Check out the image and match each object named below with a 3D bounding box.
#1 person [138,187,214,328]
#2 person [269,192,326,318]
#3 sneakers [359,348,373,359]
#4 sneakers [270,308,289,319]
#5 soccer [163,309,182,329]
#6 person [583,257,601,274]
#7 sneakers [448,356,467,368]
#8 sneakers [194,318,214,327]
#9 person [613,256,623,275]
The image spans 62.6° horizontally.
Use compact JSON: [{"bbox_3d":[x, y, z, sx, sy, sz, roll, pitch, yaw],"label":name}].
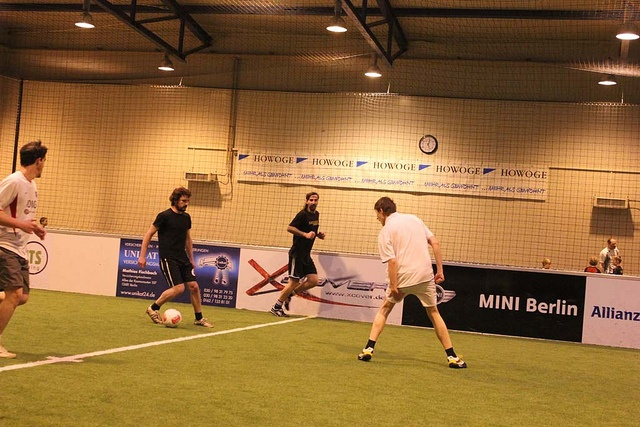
[{"bbox_3d":[-2.552,0.751,9.225,1.189,1.673,0.843,3,-2,-29],"label":"person"},{"bbox_3d":[-0.440,0.881,11.331,0.803,2.694,1.022,4,-2,-38],"label":"person"},{"bbox_3d":[0.649,2.006,7.517,0.205,0.202,0.224,2,-1,-3],"label":"sneakers"},{"bbox_3d":[-0.894,2.164,11.343,0.426,0.189,0.145,4,-4,-1],"label":"sneakers"},{"bbox_3d":[-2.541,1.776,8.859,0.294,0.287,0.286,-5,-34,-44],"label":"soccer"},{"bbox_3d":[6.983,1.321,13.385,0.297,0.355,2.381,1,-1,28],"label":"person"},{"bbox_3d":[1.969,2.125,7.517,0.130,0.136,0.295,-5,-8,42],"label":"sneakers"},{"bbox_3d":[-2.040,1.931,9.283,0.395,0.162,0.132,2,-2,11],"label":"sneakers"},{"bbox_3d":[7.576,1.311,13.408,0.193,0.432,0.814,1,-1,28],"label":"person"}]
